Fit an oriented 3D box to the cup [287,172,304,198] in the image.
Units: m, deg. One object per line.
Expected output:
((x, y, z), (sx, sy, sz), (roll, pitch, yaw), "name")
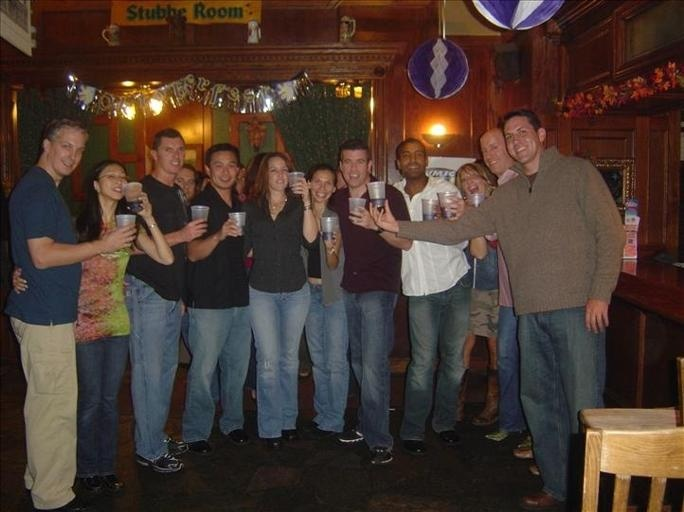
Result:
((-0.388, -0.564, 4.839), (0.194, 0.183, 0.185), (1, -3, 0), "cup")

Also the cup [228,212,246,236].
((-0.780, -0.250, 4.653), (0.169, 0.167, 0.165), (-1, 3, 0), "cup")

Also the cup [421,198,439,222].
((0.673, -0.359, 4.702), (0.170, 0.166, 0.160), (-1, 1, 0), "cup")

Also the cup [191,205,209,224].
((-1.057, -0.313, 4.554), (0.135, 0.096, 0.126), (1, 1, 0), "cup")

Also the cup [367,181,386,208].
((0.258, -0.460, 4.533), (0.181, 0.183, 0.181), (0, 3, 0), "cup")

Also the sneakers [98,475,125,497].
((-1.649, 1.641, 4.391), (0.235, 0.087, 0.079), (5, -1, 36), "sneakers")

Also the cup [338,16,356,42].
((0.040, -2.589, 6.971), (0.169, 0.315, 0.293), (2, 13, 11), "cup")

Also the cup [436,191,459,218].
((0.799, -0.397, 4.737), (0.199, 0.196, 0.190), (0, -3, 0), "cup")

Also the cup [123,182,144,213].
((-1.486, -0.408, 4.363), (0.121, 0.235, 0.209), (-4, 13, -18), "cup")

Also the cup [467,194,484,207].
((1.040, -0.450, 4.765), (0.110, 0.114, 0.111), (-5, 19, 2), "cup")

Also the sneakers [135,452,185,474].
((-1.383, 1.559, 4.653), (0.321, 0.131, 0.139), (2, -6, 4), "sneakers")

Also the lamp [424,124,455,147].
((1.124, -1.428, 7.286), (0.288, 0.214, 0.277), (-1, 2, -1), "lamp")

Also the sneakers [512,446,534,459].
((1.431, 1.559, 4.838), (0.166, 0.109, 0.059), (-7, -12, 16), "sneakers")

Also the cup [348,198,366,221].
((0.086, -0.359, 4.546), (0.135, 0.099, 0.132), (2, -2, 0), "cup")

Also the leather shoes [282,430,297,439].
((-0.433, 1.470, 5.042), (0.129, 0.115, 0.057), (-1, -2, -9), "leather shoes")

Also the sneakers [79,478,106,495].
((-1.786, 1.644, 4.387), (0.216, 0.087, 0.083), (-1, -4, 30), "sneakers")

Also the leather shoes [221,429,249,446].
((-0.865, 1.483, 5.033), (0.185, 0.075, 0.087), (-3, -4, 38), "leather shoes")

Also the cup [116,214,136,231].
((-1.471, -0.232, 4.162), (0.113, 0.076, 0.102), (0, 1, -21), "cup")
